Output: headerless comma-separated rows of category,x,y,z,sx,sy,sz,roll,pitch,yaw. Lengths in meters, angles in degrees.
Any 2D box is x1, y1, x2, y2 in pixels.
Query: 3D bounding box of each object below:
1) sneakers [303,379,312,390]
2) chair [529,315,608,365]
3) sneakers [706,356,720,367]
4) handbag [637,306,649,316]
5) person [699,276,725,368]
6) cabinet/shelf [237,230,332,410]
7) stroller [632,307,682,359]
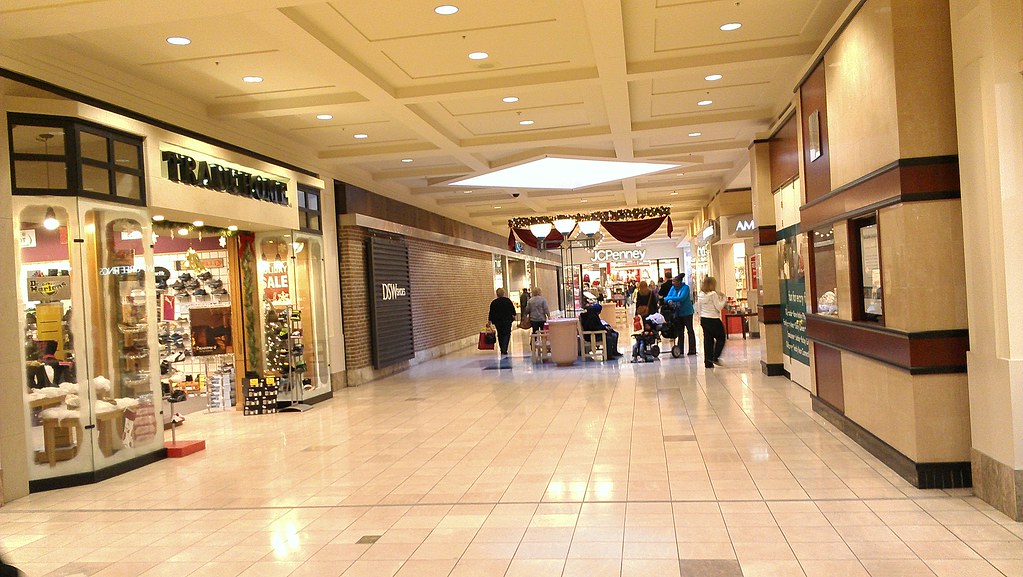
sneakers,-3.850,1.805,11.890,0.155,0.171,0.193,3,6,-13
chair,1.405,1.292,15.577,1.452,0.707,1.341,0,3,13
sneakers,4.257,1.553,13.404,0.453,0.153,0.146,-8,6,-35
handbag,3.094,0.543,15.058,0.245,0.069,0.236,4,44,46
person,4.217,0.693,13.367,0.456,1.906,0.858,-3,7,15
cabinet/shelf,-4.304,0.579,11.802,1.726,3.289,0.976,-8,8,-25
stroller,3.281,1.097,14.664,0.958,1.092,0.759,-3,7,14
